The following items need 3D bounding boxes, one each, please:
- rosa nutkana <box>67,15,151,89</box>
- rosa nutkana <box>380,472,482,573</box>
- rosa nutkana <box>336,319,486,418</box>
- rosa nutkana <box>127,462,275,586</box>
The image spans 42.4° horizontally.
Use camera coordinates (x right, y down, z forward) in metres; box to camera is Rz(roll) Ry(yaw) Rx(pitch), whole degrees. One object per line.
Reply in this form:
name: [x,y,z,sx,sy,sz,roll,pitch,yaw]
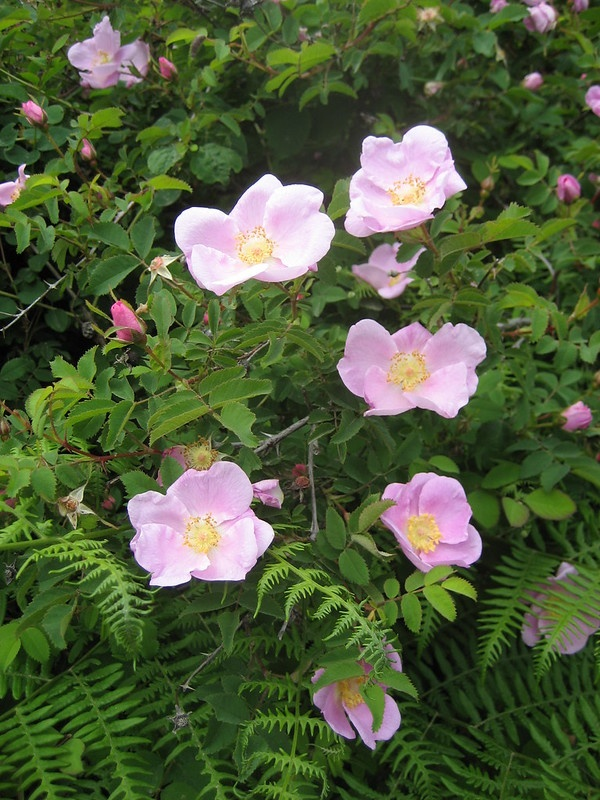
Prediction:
rosa nutkana: [-0.655,-1.170,2.681,0.267,0.296,0.190,2,49,-10]
rosa nutkana: [0.333,0.313,2.031,0.274,0.114,0.238,36,29,-11]
rosa nutkana: [0.277,-0.064,2.058,0.362,0.267,0.285,11,47,-2]
rosa nutkana: [-0.245,0.290,1.780,0.284,0.184,0.249,1,47,-11]
